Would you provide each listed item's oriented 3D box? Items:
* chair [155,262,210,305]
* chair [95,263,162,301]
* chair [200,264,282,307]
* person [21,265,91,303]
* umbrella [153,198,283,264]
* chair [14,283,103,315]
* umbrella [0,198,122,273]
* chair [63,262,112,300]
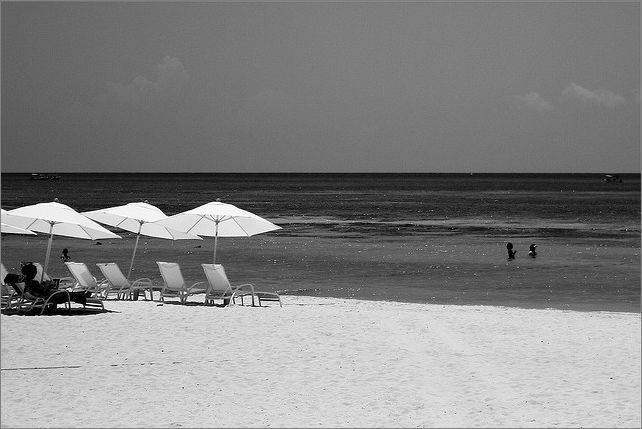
[{"bbox_3d":[-2.885,1.606,20.287,1.454,0.746,0.702,8,1,29],"label":"chair"},{"bbox_3d":[-4.312,1.527,20.756,1.445,0.732,0.673,0,4,4],"label":"chair"},{"bbox_3d":[-1.677,1.659,20.367,1.461,0.624,0.595,7,-5,-13],"label":"chair"},{"bbox_3d":[-5.487,1.336,18.419,1.517,0.717,0.725,0,10,-21],"label":"person"},{"bbox_3d":[-2.486,0.350,20.805,1.989,1.208,1.874,7,-13,14],"label":"umbrella"},{"bbox_3d":[-5.296,1.786,18.436,1.435,0.467,0.831,0,-1,-14],"label":"chair"},{"bbox_3d":[-5.747,0.177,19.638,2.170,1.239,1.935,4,-13,-2],"label":"umbrella"},{"bbox_3d":[-5.107,1.531,20.221,1.104,0.565,0.538,2,25,-2],"label":"chair"}]
